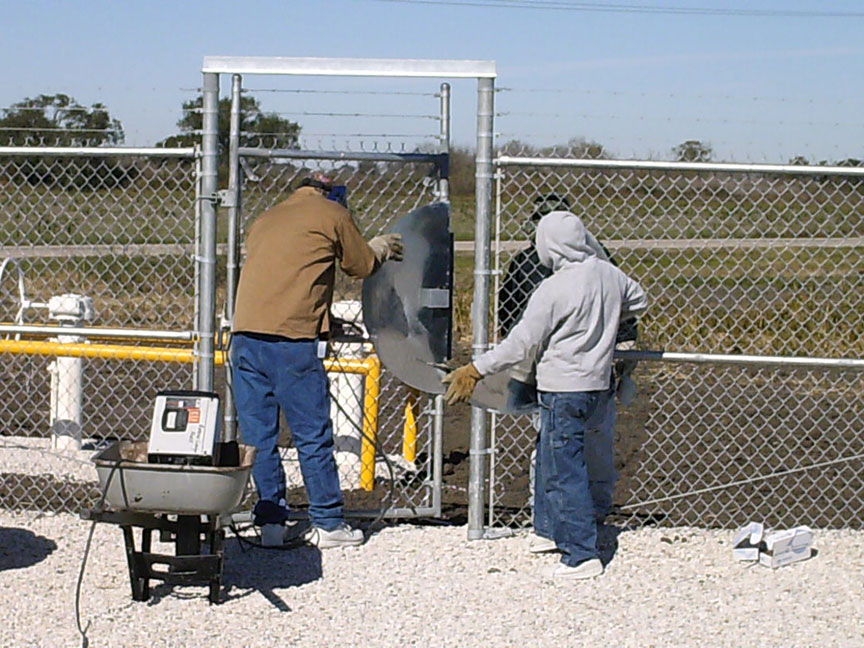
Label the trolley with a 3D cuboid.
[{"bbox_3d":[-1.974,1.677,11.890,1.331,1.098,1.217,1,-1,-6],"label":"trolley"}]

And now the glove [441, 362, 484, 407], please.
[{"bbox_3d":[0.219,0.484,12.149,0.290,0.321,0.112,18,6,20],"label":"glove"}]

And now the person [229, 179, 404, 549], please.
[{"bbox_3d":[-1.058,0.386,12.387,1.118,2.862,0.390,-1,7,-9],"label":"person"}]

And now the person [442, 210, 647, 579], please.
[{"bbox_3d":[1.011,0.551,12.265,1.403,2.887,0.639,0,7,5],"label":"person"}]

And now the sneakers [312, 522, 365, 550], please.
[{"bbox_3d":[-0.773,1.740,12.556,0.424,0.224,0.176,-1,5,-12],"label":"sneakers"}]
